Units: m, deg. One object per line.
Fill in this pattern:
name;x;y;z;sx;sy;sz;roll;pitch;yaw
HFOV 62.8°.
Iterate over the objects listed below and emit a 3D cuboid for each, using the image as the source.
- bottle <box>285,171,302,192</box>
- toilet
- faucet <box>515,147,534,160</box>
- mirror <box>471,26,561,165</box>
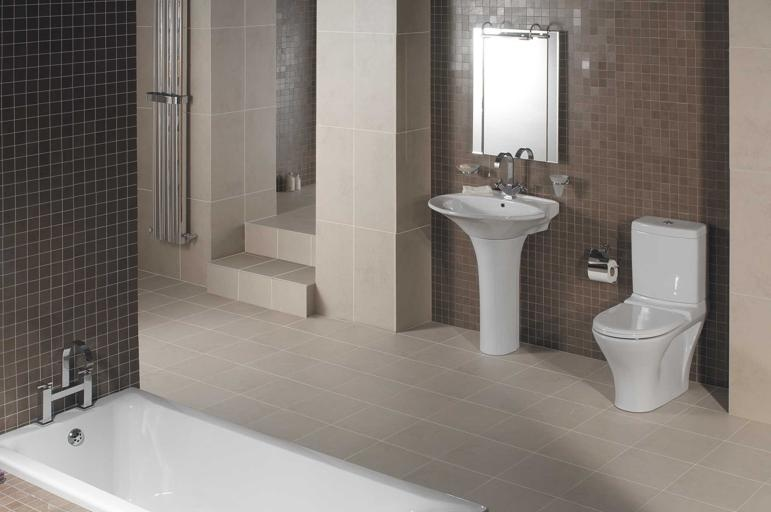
bottle;-1.057;-0.848;7.162;0.088;0.197;0.222;7;14;30
toilet;1.776;0.404;4.272;0.596;1.135;0.761;10;23;31
faucet;1.051;-0.801;4.872;0.119;0.100;0.105;-9;19;-29
mirror;0.994;-1.257;4.883;0.750;0.968;0.188;10;23;31
